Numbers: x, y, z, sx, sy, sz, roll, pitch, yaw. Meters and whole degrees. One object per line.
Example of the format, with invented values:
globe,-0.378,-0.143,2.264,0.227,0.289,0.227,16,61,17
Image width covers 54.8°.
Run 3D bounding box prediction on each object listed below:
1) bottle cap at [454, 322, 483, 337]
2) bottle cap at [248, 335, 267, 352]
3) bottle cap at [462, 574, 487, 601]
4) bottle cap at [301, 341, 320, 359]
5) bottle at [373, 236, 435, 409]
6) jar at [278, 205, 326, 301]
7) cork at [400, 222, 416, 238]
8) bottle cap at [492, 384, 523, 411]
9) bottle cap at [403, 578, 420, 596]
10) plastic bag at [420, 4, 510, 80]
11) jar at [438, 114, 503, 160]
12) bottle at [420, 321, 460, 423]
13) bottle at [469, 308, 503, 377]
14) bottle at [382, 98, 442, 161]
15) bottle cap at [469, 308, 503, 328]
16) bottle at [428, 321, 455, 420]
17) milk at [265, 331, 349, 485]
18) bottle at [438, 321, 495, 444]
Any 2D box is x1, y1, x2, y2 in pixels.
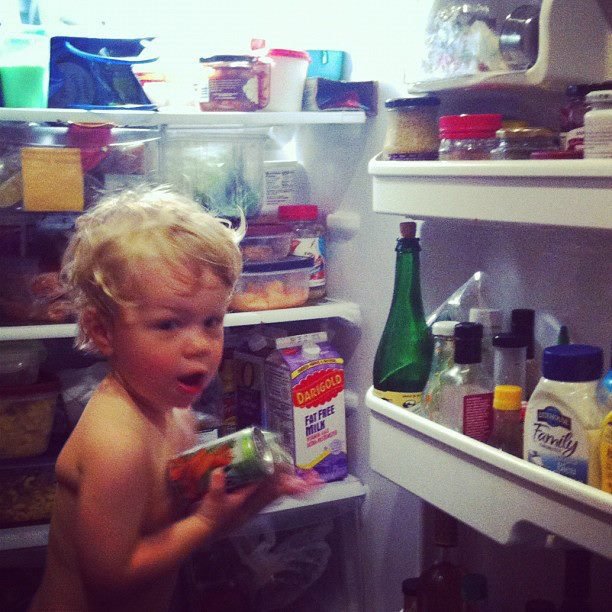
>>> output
bottle cap,0.175,0.026,0.636,0.020,0.011,0.019,0,2,-7
bottle cap,-0.102,0.076,1.225,0.036,0.034,0.010,-35,-13,20
bottle cap,0.199,0.334,0.699,0.033,0.027,0.030,-2,5,1
bottle cap,0.009,0.090,1.172,0.037,0.020,0.039,-2,13,1
bottle,0.134,0.017,0.812,0.090,0.221,0.087,-1,4,0
jar,-0.030,-0.116,1.285,0.130,0.199,0.128,0,7,0
cork,0.140,-0.105,0.805,0.020,0.021,0.031,-1,13,7
bottle cap,0.199,0.089,0.589,0.028,0.024,0.026,0,3,0
bottle cap,0.150,0.402,0.843,0.028,0.019,0.011,-7,-6,40
plastic bag,0.175,-0.292,0.676,0.083,0.090,0.103,-11,24,-19
jar,0.191,-0.190,0.665,0.081,0.046,0.081,-4,19,1
bottle,0.162,0.078,0.693,0.046,0.114,0.047,4,-6,0
bottle,0.213,0.040,0.699,0.034,0.081,0.036,2,14,0
bottle,0.151,-0.223,0.740,0.091,0.079,0.085,-4,20,13
bottle cap,0.214,0.012,0.696,0.028,0.016,0.026,2,2,-12
bottle,0.156,0.073,0.681,0.029,0.101,0.074,0,14,12
milk,-0.001,0.214,1.190,0.162,0.306,0.125,-4,14,-4
bottle,0.169,0.091,0.667,0.063,0.136,0.054,-6,17,-23
